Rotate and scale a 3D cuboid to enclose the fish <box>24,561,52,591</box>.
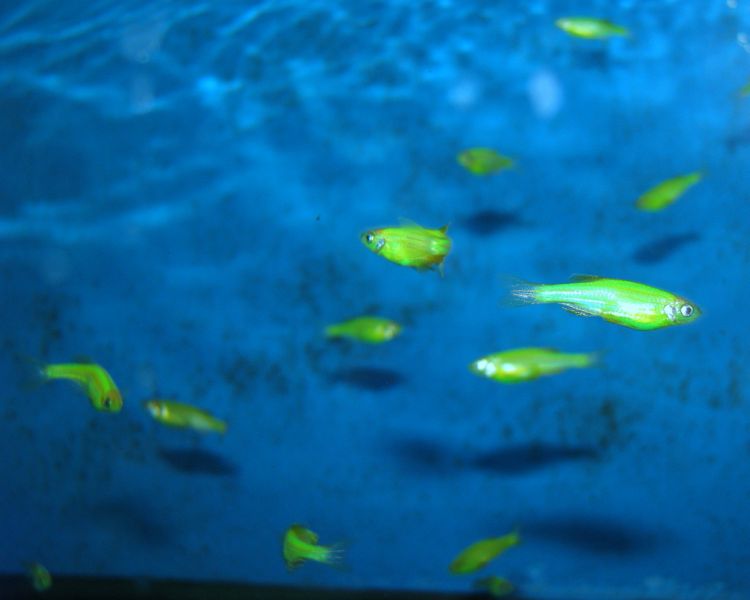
[{"bbox_3d":[-1.267,1.051,3.432,0.089,0.103,0.030,-5,-23,10],"label":"fish"}]

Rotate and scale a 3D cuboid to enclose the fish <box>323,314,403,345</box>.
[{"bbox_3d":[-0.050,0.118,3.413,0.354,0.166,0.089,0,2,5],"label":"fish"}]

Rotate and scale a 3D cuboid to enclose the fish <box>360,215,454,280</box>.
[{"bbox_3d":[0.114,-0.207,3.325,0.355,0.159,0.150,13,-26,-31],"label":"fish"}]
